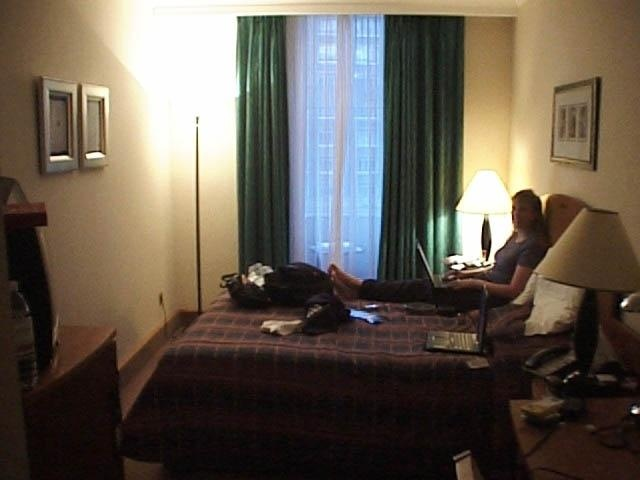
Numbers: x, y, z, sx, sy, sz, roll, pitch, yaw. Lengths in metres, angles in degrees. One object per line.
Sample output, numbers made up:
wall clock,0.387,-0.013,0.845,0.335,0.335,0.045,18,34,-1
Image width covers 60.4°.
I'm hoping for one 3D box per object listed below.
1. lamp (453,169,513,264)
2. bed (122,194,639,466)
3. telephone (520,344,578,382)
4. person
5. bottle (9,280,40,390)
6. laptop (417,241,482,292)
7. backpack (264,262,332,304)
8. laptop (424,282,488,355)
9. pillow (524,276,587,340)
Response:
lamp,1.456,-0.177,4.816,0.408,0.786,0.423,2,3,28
bed,-0.002,0.519,3.256,2.069,0.797,1.452,2,5,8
telephone,1.161,0.620,2.703,0.263,0.088,0.231,-10,14,-26
person,0.888,0.106,4.212,1.494,0.975,0.713,4,2,17
bottle,-1.129,0.346,2.107,0.063,0.421,0.193,-7,10,-28
laptop,0.906,0.247,4.179,0.260,0.260,0.366,-5,12,7
backpack,-0.171,0.310,3.886,0.297,0.158,0.311,-2,10,3
laptop,0.809,0.443,3.224,0.285,0.365,0.443,4,2,6
pillow,1.303,0.403,3.055,0.090,0.304,0.266,17,0,-14
